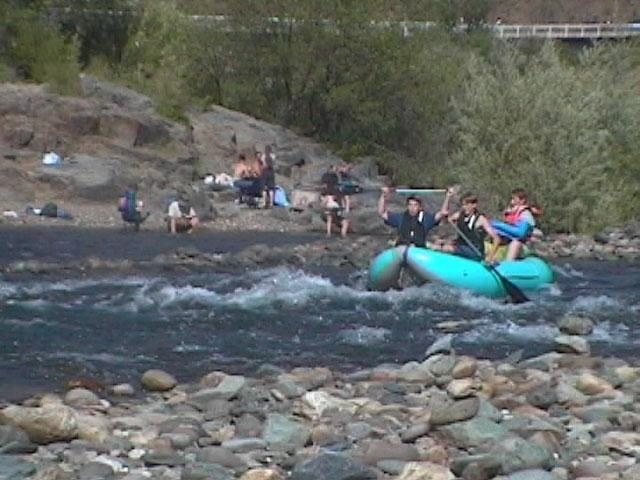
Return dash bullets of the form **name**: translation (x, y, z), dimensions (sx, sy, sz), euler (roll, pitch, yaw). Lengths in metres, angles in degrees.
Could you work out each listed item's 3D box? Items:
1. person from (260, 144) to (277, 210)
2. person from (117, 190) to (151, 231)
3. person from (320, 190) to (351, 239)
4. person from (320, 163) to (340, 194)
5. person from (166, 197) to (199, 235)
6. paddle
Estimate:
- **person**: translation (-1.653, -2.030, 41.649), dimensions (0.521, 1.981, 0.972), euler (4, 4, -1)
- **person**: translation (-5.789, -0.977, 39.979), dimensions (0.938, 1.040, 0.752), euler (3, -3, 11)
- **person**: translation (0.465, -0.814, 40.268), dimensions (0.955, 1.344, 0.457), euler (-1, 1, -17)
- **person**: translation (0.385, -1.839, 40.430), dimensions (0.455, 0.867, 0.701), euler (2, 5, -21)
- **person**: translation (-4.226, -0.652, 39.725), dimensions (0.647, 0.770, 0.623), euler (-18, 11, -10)
- **paddle**: translation (4.409, 0.624, 33.526), dimensions (2.737, 0.485, 0.243), euler (49, 9, 15)
